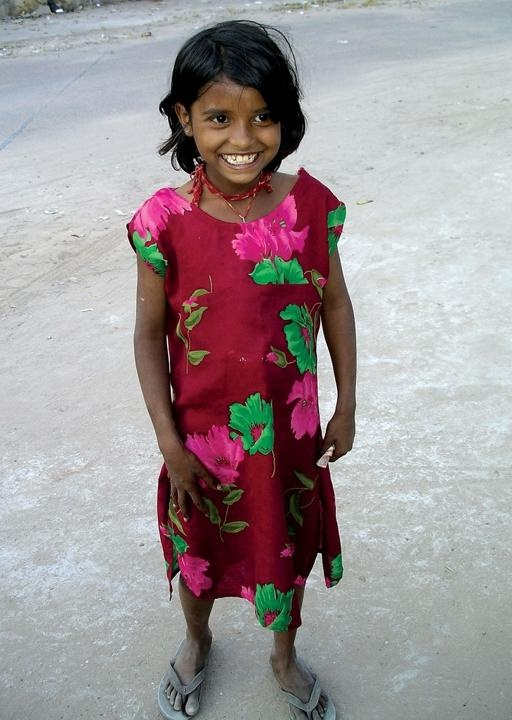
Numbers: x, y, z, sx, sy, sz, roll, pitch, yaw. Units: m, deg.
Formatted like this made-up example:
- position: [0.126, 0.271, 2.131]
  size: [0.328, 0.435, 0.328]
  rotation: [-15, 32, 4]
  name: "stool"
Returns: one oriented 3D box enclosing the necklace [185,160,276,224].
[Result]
- position: [-0.049, -0.343, 1.361]
  size: [0.172, 0.112, 0.107]
  rotation: [-9, 25, 3]
  name: "necklace"
